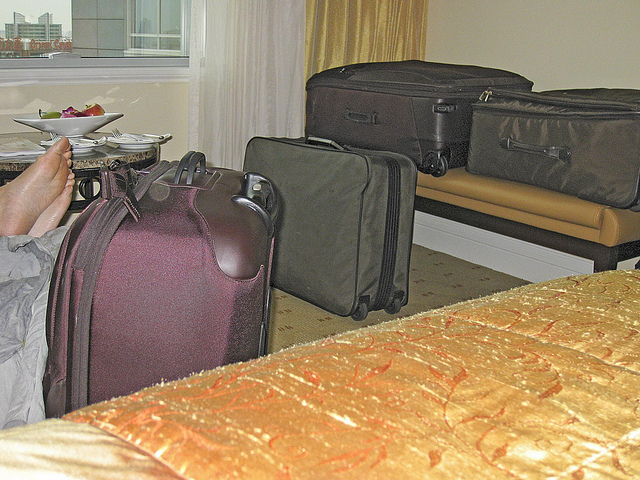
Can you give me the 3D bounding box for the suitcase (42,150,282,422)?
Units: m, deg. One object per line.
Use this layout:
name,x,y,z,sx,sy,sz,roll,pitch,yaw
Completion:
suitcase,-0.263,0.124,1.007,0.424,0.554,0.414,10,23,-5

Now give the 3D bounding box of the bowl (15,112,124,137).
bowl,-0.919,-0.395,1.825,0.334,0.079,0.258,4,17,12

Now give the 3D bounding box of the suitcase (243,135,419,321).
suitcase,0.043,-0.035,1.565,0.594,0.482,0.305,17,17,36

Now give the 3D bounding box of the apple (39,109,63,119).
apple,-0.909,-0.421,1.806,0.050,0.023,0.040,-1,-3,-36

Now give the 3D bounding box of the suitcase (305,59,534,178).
suitcase,0.312,-0.446,1.974,0.685,0.290,0.546,22,31,40

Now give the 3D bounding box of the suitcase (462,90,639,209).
suitcase,0.684,-0.264,1.594,0.443,0.184,0.454,15,14,40
